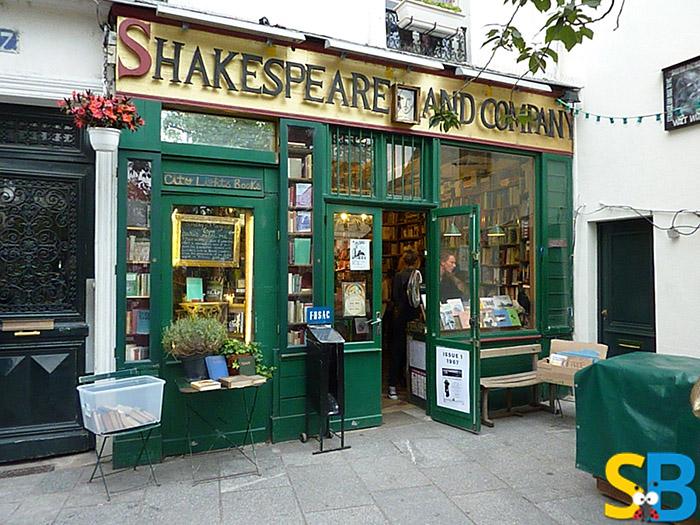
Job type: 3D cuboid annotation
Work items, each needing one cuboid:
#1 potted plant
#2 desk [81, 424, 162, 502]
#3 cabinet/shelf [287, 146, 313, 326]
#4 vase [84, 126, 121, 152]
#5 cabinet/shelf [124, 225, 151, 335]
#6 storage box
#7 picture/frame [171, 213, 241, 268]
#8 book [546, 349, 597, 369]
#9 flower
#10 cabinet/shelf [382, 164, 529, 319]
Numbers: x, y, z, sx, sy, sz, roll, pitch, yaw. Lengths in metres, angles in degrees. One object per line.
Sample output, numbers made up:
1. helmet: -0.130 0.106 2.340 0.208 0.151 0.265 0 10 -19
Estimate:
1. potted plant: -1.462 0.905 6.502 0.818 0.495 0.723 8 -4 -28
2. desk: -2.347 2.032 6.310 0.684 0.784 0.774 -5 -10 44
3. cabinet/shelf: -0.588 -0.315 7.189 0.263 2.082 0.447 0 9 -1
4. vase: -2.499 -1.246 6.197 0.242 0.163 0.252 1 4 17
5. cabinet/shelf: -2.290 0.201 6.559 0.276 1.142 0.205 -3 10 -20
6. storage box: -2.240 1.308 5.954 0.755 0.452 0.524 0 0 -32
7. picture/frame: -1.661 -0.244 6.836 0.588 0.466 0.030 1 3 -22
8. book: 2.783 1.198 7.604 0.378 0.120 0.365 0 -2 -23
9. flower: -2.556 -1.571 6.273 0.827 0.420 0.555 4 10 17
10. cabinet/shelf: 1.497 -0.280 8.107 2.141 2.078 0.711 0 0 -26
